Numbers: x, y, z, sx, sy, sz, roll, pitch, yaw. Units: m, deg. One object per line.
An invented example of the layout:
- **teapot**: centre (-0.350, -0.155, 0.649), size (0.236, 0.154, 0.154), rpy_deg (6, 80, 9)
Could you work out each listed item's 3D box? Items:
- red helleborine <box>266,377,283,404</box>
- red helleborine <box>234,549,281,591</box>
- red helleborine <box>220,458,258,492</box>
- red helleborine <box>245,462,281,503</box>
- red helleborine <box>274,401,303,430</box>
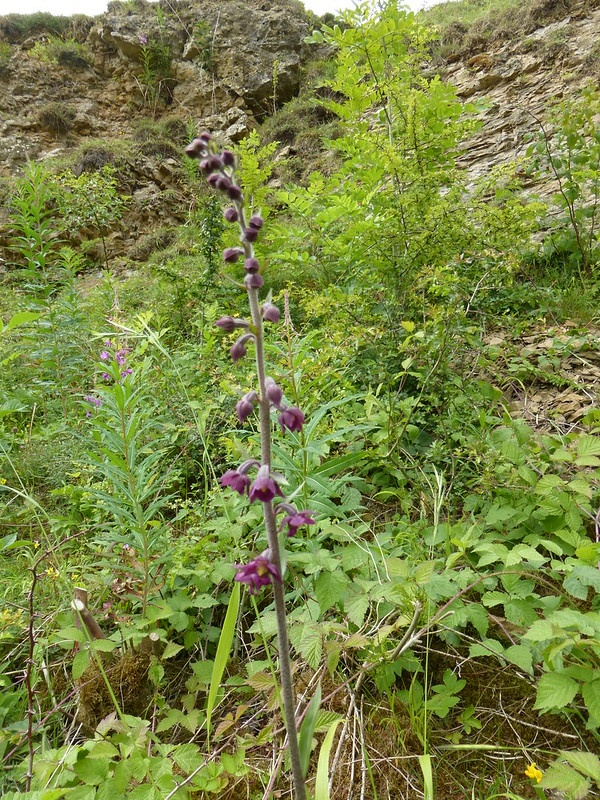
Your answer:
- **red helleborine**: centre (-0.093, -0.036, 2.276), size (0.051, 0.101, 0.169), rpy_deg (-11, 15, -2)
- **red helleborine**: centre (-0.137, 0.554, 2.205), size (0.132, 0.086, 0.148), rpy_deg (-33, 22, 8)
- **red helleborine**: centre (-0.204, 0.249, 2.295), size (0.089, 0.065, 0.142), rpy_deg (33, 20, -9)
- **red helleborine**: centre (-0.125, 0.275, 2.227), size (0.113, 0.107, 0.163), rpy_deg (31, 7, -12)
- **red helleborine**: centre (-0.036, 0.060, 2.327), size (0.081, 0.118, 0.124), rpy_deg (-11, 15, -4)
